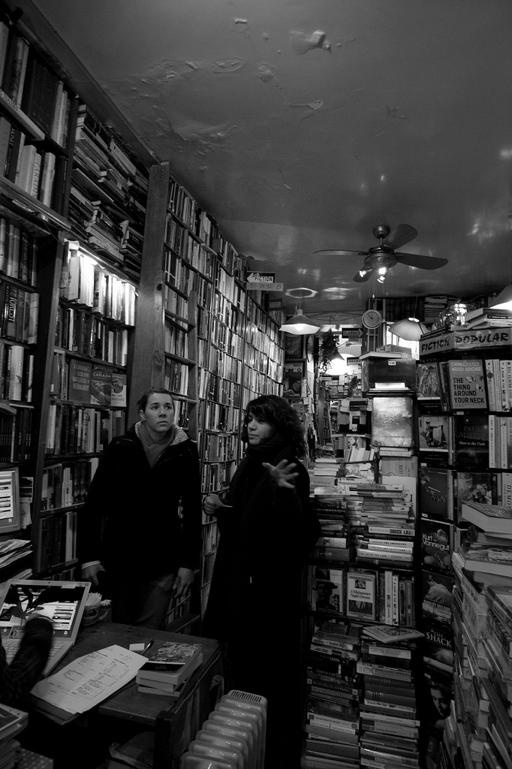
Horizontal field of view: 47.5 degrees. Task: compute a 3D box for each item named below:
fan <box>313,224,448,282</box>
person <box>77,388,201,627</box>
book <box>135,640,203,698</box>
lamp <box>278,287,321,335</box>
[{"bbox_3d":[1.075,-1.143,4.813,0.658,0.261,0.600,-24,9,-36],"label":"fan"},{"bbox_3d":[-0.586,0.736,2.924,0.532,1.558,0.345,4,16,-15],"label":"person"},{"bbox_3d":[-0.238,0.781,1.590,0.108,0.049,0.158,3,3,9],"label":"book"},{"bbox_3d":[0.542,-0.983,7.633,0.500,0.558,0.524,-4,-9,31],"label":"lamp"}]
